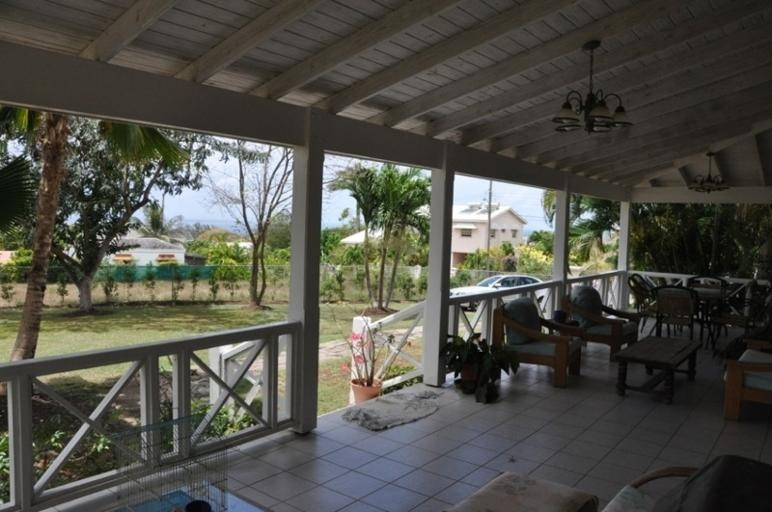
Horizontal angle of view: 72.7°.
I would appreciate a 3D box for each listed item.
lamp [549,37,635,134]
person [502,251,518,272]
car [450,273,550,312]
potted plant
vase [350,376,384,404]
[{"bbox_3d":[2.145,-1.771,5.521,0.839,0.881,0.853,0,4,-22],"label":"lamp"},{"bbox_3d":[6.401,0.399,27.275,0.911,0.857,0.236,0,-11,-40],"label":"person"},{"bbox_3d":[3.682,1.174,19.782,3.911,1.233,1.734,2,-3,-25],"label":"car"},{"bbox_3d":[1.166,1.428,7.013,0.884,0.566,0.859,7,0,-35],"label":"potted plant"},{"bbox_3d":[-0.324,2.136,8.233,0.453,0.314,0.439,3,-7,-1],"label":"vase"}]
